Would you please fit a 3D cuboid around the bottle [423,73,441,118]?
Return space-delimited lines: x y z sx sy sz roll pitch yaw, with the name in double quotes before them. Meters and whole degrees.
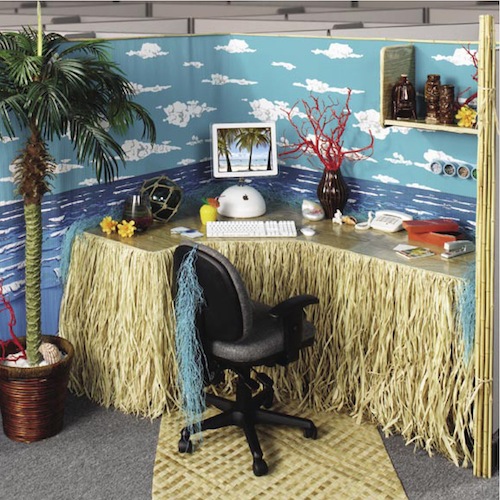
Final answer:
"bottle" 0.854 -0.709 2.126 0.071 0.208 0.189 5 14 19

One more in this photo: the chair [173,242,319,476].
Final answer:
"chair" -0.026 0.426 1.999 0.648 0.757 0.660 0 2 -25

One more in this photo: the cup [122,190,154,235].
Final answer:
"cup" -0.615 -0.203 2.443 0.176 0.191 0.168 4 22 -2

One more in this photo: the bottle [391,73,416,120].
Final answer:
"bottle" 0.736 -0.715 2.154 0.102 0.201 0.039 4 15 16

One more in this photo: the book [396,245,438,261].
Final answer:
"book" 0.750 0.009 2.070 0.175 0.031 0.182 -2 12 -6

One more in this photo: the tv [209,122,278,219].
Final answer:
"tv" -0.066 -0.484 2.721 0.468 0.524 0.346 -9 28 -32

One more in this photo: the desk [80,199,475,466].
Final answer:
"desk" 0.260 0.308 2.108 1.302 0.570 1.266 6 9 36

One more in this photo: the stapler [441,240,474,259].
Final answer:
"stapler" 0.980 -0.010 2.076 0.261 0.072 0.058 -11 14 -36

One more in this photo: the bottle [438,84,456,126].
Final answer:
"bottle" 0.886 -0.644 2.032 0.073 0.174 0.093 5 15 21
